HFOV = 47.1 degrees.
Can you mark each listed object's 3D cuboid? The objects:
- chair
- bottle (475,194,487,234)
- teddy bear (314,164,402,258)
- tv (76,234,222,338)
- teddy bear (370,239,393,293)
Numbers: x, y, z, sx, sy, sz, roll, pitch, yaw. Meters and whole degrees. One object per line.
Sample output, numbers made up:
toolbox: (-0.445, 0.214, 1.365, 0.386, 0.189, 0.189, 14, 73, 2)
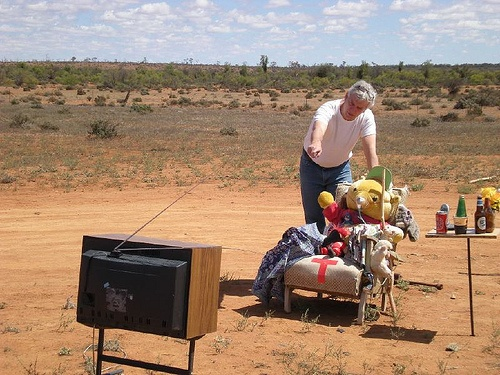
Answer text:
chair: (1.385, 0.721, 7.610, 1.578, 1.847, 1.382, -2, 4, -44)
bottle: (2.772, 0.323, 6.883, 0.132, 0.419, 0.337, 5, 12, 23)
teddy bear: (1.380, 0.320, 7.453, 0.871, 1.048, 0.647, 20, -5, 15)
tv: (-0.992, 0.974, 5.611, 1.213, 0.905, 0.724, 3, 0, 24)
teddy bear: (1.695, 0.954, 7.234, 0.241, 0.655, 0.395, 9, 15, 38)
